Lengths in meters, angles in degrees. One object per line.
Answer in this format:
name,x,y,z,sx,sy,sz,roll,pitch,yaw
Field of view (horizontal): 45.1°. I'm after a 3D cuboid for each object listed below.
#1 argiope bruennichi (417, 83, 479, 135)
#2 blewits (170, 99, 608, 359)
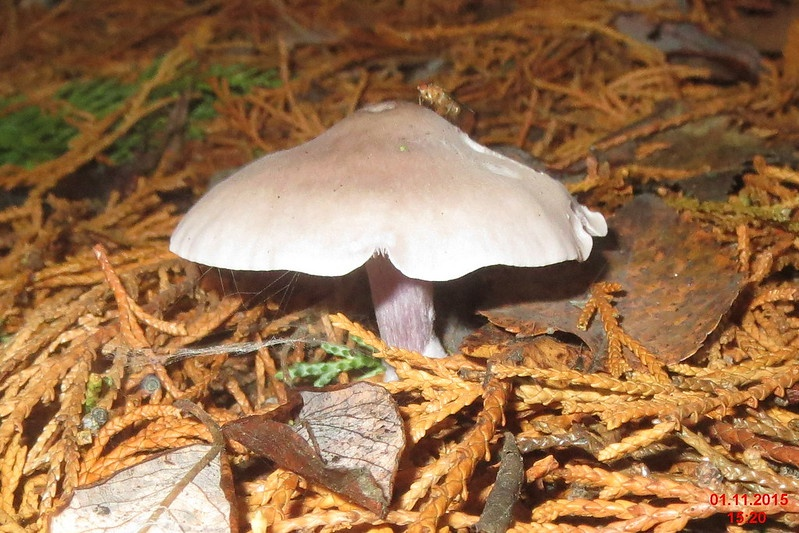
argiope bruennichi,0.204,-0.774,4.631,0.192,0.313,0.093,18,81,62
blewits,-0.197,-0.248,4.399,1.546,0.881,1.413,-7,14,-29
